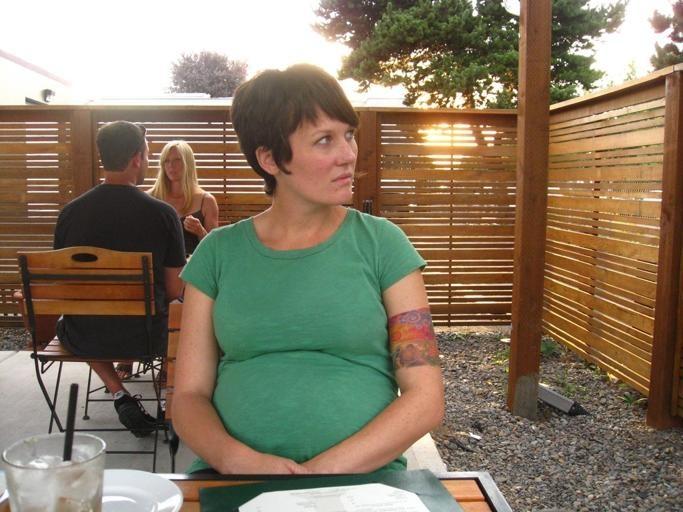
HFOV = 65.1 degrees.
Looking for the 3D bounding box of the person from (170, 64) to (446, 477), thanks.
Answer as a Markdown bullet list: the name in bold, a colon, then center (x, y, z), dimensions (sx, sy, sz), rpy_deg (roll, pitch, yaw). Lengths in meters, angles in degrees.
- **person**: center (-0.110, 0.074, 1.686), dimensions (0.922, 1.281, 0.796), rpy_deg (2, 13, 9)
